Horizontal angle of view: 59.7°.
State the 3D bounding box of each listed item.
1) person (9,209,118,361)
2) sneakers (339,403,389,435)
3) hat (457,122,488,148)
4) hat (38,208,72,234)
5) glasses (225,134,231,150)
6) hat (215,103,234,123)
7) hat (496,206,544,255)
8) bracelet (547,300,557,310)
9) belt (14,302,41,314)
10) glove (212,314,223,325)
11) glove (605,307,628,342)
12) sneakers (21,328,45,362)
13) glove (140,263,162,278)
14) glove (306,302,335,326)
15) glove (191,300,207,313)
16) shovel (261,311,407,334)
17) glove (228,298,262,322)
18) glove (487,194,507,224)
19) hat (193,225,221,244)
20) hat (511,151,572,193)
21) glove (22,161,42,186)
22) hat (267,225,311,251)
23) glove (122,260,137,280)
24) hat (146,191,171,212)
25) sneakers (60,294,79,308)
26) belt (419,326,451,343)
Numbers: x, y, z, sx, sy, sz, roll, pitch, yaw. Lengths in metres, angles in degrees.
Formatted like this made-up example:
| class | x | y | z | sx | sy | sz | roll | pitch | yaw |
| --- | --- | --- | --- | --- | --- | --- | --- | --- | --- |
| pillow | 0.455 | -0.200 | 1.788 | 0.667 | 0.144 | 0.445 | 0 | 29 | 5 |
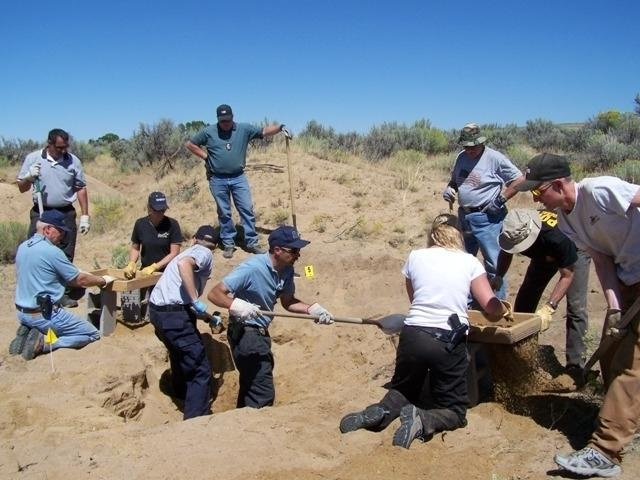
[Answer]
| class | x | y | z | sx | sy | sz | roll | pitch | yaw |
| --- | --- | --- | --- | --- | --- | --- | --- | --- | --- |
| person | -3.509 | 0.564 | 7.632 | 1.043 | 1.959 | 1.143 | 3 | 8 | -7 |
| sneakers | 0.477 | 1.863 | 5.970 | 0.566 | 0.257 | 0.272 | -14 | -14 | 12 |
| hat | 2.165 | -1.469 | 7.931 | 0.345 | 0.351 | 0.680 | 3 | 15 | 16 |
| hat | -3.689 | -0.261 | 7.699 | 0.412 | 0.279 | 0.292 | 16 | 5 | -40 |
| glasses | -1.741 | -1.812 | 10.590 | 0.078 | 0.205 | 0.102 | 10 | 17 | 38 |
| hat | -1.777 | -2.340 | 10.365 | 0.249 | 0.299 | 0.236 | -5 | 14 | -16 |
| hat | 2.395 | -0.050 | 6.631 | 0.193 | 0.527 | 0.479 | 18 | 38 | -28 |
| bracelet | 2.721 | 0.763 | 6.517 | 0.100 | 0.058 | 0.091 | 25 | 4 | -6 |
| belt | -3.815 | 0.893 | 7.241 | 0.334 | 0.132 | 0.057 | 2 | 14 | 11 |
| glove | -1.240 | 0.936 | 6.656 | 0.098 | 0.138 | 0.125 | 5 | 1 | 43 |
| glove | 2.764 | 0.780 | 5.219 | 0.171 | 0.274 | 0.089 | 11 | 9 | 14 |
| sneakers | -3.776 | 1.368 | 7.346 | 0.230 | 0.456 | 0.180 | 22 | -19 | -21 |
| glove | -2.566 | 0.442 | 8.393 | 0.161 | 0.085 | 0.199 | 7 | 24 | 32 |
| glove | -0.010 | 0.892 | 6.718 | 0.109 | 0.216 | 0.298 | -7 | 23 | -36 |
| glove | -1.479 | 0.808 | 6.763 | 0.089 | 0.138 | 0.165 | 5 | -23 | 35 |
| shovel | 0.137 | 1.191 | 7.962 | 1.646 | 0.198 | 0.559 | 1 | -13 | -5 |
| glove | -0.834 | 0.778 | 6.230 | 0.361 | 0.229 | 0.139 | -3 | 14 | -10 |
| glove | 2.568 | -0.427 | 8.074 | 0.183 | 0.397 | 0.290 | -13 | -38 | 16 |
| hat | -1.413 | -0.079 | 7.041 | 0.258 | 0.237 | 0.449 | 11 | -1 | -6 |
| hat | 2.184 | -0.708 | 5.453 | 0.423 | 0.290 | 0.309 | -15 | 16 | 4 |
| glove | -4.496 | -0.992 | 8.637 | 0.164 | 0.406 | 0.300 | 48 | 28 | 23 |
| hat | -0.359 | -0.020 | 6.198 | 0.355 | 0.235 | 0.251 | 1 | 6 | -1 |
| glove | -2.814 | 0.428 | 8.255 | 0.170 | 0.263 | 0.088 | -19 | -20 | 16 |
| hat | -2.389 | -0.554 | 8.184 | 0.246 | 0.323 | 0.322 | -6 | 15 | -21 |
| sneakers | -4.087 | 1.008 | 9.068 | 0.353 | 0.162 | 0.128 | 0 | 2 | 38 |
| belt | 1.188 | 0.939 | 5.638 | 0.170 | 0.062 | 0.165 | -13 | 40 | -32 |
